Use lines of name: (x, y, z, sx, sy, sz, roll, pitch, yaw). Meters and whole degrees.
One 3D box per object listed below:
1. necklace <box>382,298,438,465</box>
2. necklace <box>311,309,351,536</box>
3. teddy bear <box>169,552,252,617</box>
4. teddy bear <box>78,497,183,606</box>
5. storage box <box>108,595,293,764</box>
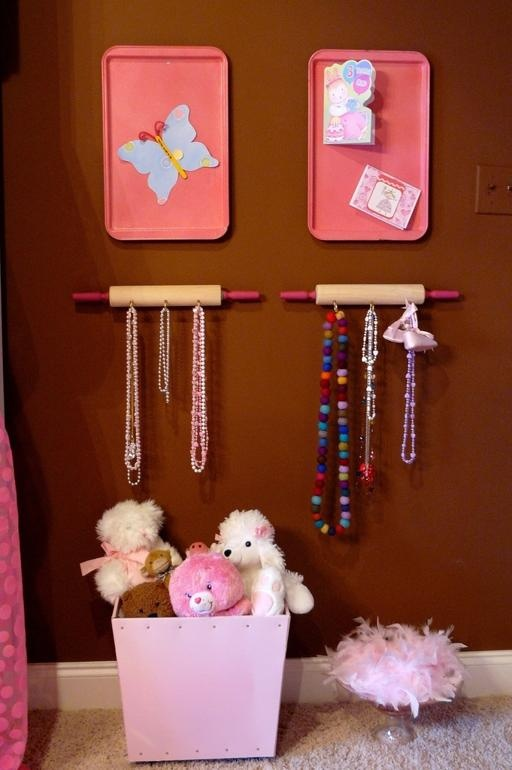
necklace: (0.380, 0.005, 1.992, 0.134, 0.425, 0.192, 2, 13, 11)
necklace: (0.195, 0.101, 2.010, 0.102, 0.581, 0.164, 1, 13, 6)
teddy bear: (-0.103, 0.445, 1.735, 0.137, 0.125, 0.135, 9, 15, 36)
teddy bear: (-0.344, 0.414, 1.951, 0.157, 0.257, 0.268, 17, 17, 34)
storage box: (-0.109, 0.632, 1.892, 0.466, 0.413, 0.331, 0, 3, -3)
